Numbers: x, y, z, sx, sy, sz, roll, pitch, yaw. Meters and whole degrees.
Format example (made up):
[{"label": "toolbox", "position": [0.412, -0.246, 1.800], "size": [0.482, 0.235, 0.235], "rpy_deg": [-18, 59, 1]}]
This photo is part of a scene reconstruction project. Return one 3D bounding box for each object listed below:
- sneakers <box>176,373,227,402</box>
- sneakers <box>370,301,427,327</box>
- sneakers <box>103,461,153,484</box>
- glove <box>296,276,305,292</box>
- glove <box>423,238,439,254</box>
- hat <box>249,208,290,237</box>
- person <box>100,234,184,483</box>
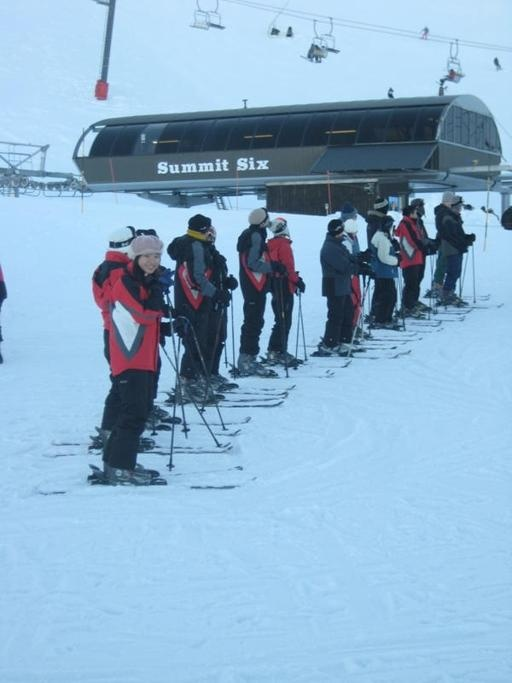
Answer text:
[{"label": "sneakers", "position": [-0.406, 0.345, 8.288], "size": [0.247, 0.097, 0.304], "rpy_deg": [1, 7, -13]}, {"label": "sneakers", "position": [1.521, -0.285, 12.411], "size": [0.543, 0.214, 0.158], "rpy_deg": [-11, 17, 4]}, {"label": "sneakers", "position": [-0.668, 0.710, 6.143], "size": [0.222, 0.085, 0.110], "rpy_deg": [-2, 7, -12]}, {"label": "glove", "position": [0.351, -0.461, 9.409], "size": [0.046, 0.115, 0.095], "rpy_deg": [4, 1, 14]}, {"label": "glove", "position": [1.956, -1.069, 12.920], "size": [0.166, 0.156, 0.189], "rpy_deg": [1, -1, -1]}, {"label": "hat", "position": [0.110, -0.958, 9.369], "size": [0.298, 0.215, 0.199], "rpy_deg": [-13, 26, -10]}, {"label": "person", "position": [-0.633, 0.111, 6.224], "size": [0.408, 1.236, 0.601], "rpy_deg": [6, 1, -8]}]
